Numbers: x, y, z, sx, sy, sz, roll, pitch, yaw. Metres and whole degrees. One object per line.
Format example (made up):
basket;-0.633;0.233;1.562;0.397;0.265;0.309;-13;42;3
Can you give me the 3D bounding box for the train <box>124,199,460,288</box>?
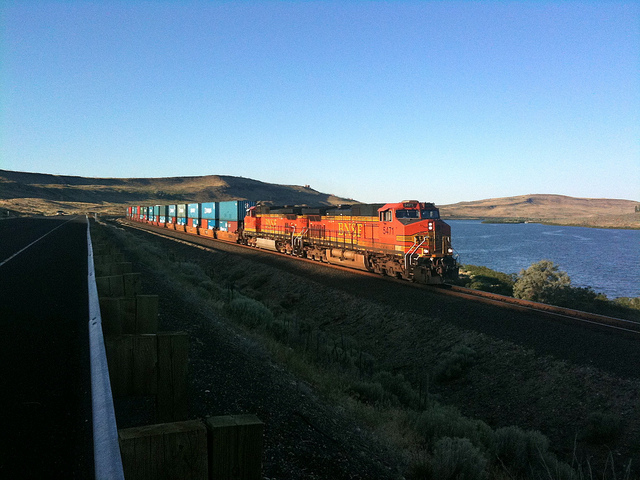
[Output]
train;-7.036;-2.066;49.575;3.855;5.469;56.352;-12;11;-30
